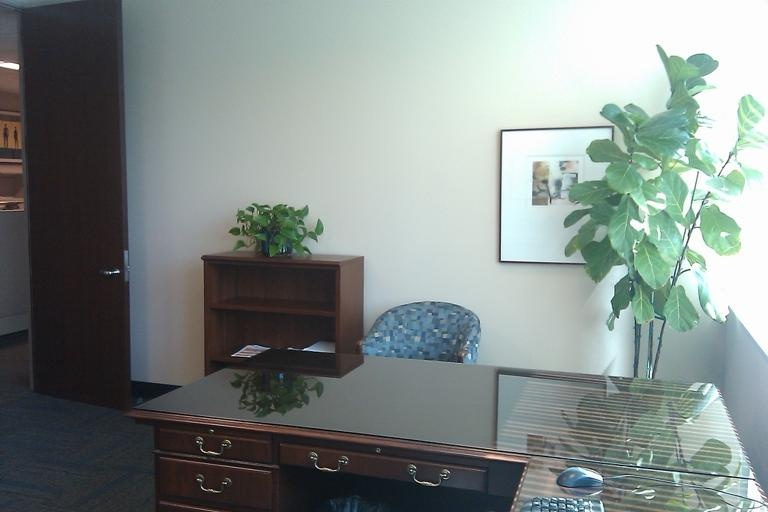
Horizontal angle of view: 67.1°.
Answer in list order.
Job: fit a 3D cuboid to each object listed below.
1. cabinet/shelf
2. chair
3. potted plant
[{"bbox_3d":[-0.697,0.408,4.130,0.967,0.958,0.379,0,2,12],"label":"cabinet/shelf"},{"bbox_3d":[0.267,0.453,3.923,0.474,0.550,0.502,2,-6,14],"label":"chair"},{"bbox_3d":[-0.783,-0.187,4.407,0.505,0.295,0.533,3,0,44],"label":"potted plant"}]
